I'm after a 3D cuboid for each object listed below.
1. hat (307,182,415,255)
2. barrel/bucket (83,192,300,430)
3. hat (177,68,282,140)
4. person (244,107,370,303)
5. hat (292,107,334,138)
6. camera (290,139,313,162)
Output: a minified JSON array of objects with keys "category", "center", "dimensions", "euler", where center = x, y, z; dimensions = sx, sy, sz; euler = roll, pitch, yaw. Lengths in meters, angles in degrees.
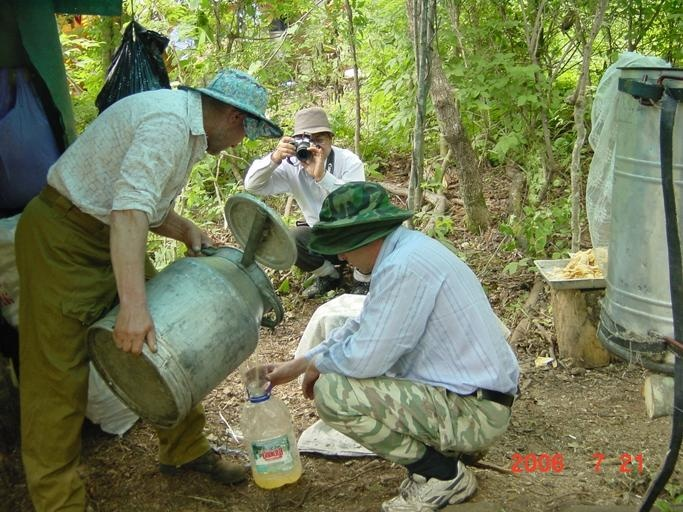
[{"category":"hat","center":[0.059,-0.228,3.842],"dimensions":[0.598,0.340,0.634],"euler":[-12,-1,34]},{"category":"barrel/bucket","center":[-0.856,0.365,3.948],"dimensions":[0.805,0.898,1.323],"euler":[36,52,17]},{"category":"hat","center":[-0.608,-0.907,3.917],"dimensions":[0.634,0.277,0.600],"euler":[12,10,-34]},{"category":"person","center":[-0.279,-0.381,6.147],"dimensions":[1.088,1.678,0.938],"euler":[-6,9,-15]},{"category":"hat","center":[-0.240,-1.142,5.915],"dimensions":[0.338,0.242,0.238],"euler":[0,9,-2]},{"category":"camera","center":[-0.328,-0.900,5.872],"dimensions":[0.147,0.210,0.245],"euler":[-1,9,-9]}]
